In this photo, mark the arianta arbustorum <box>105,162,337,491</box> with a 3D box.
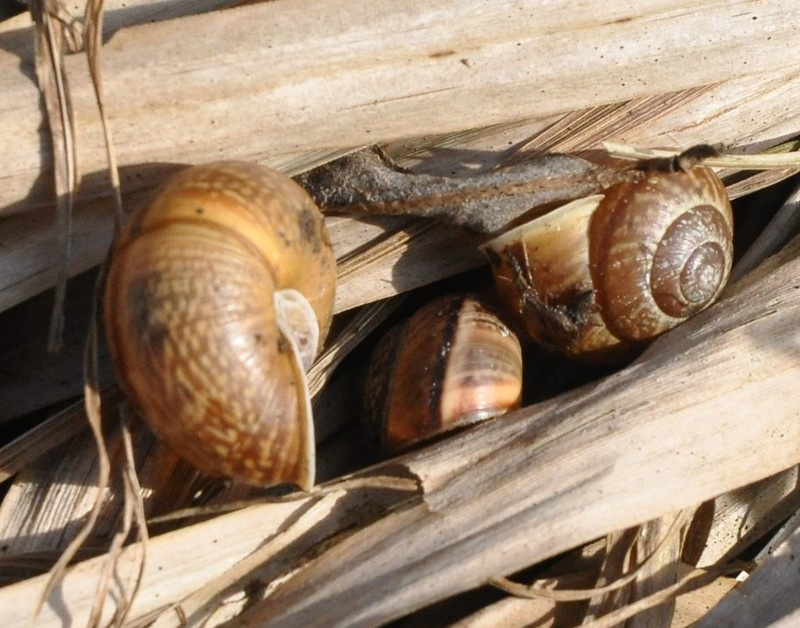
[{"bbox_3d":[-0.321,0.014,1.560,0.380,0.535,0.330,5,29,-7],"label":"arianta arbustorum"}]

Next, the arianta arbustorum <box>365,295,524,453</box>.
[{"bbox_3d":[0.072,0.127,1.814,0.386,0.170,0.274,-23,66,7],"label":"arianta arbustorum"}]
